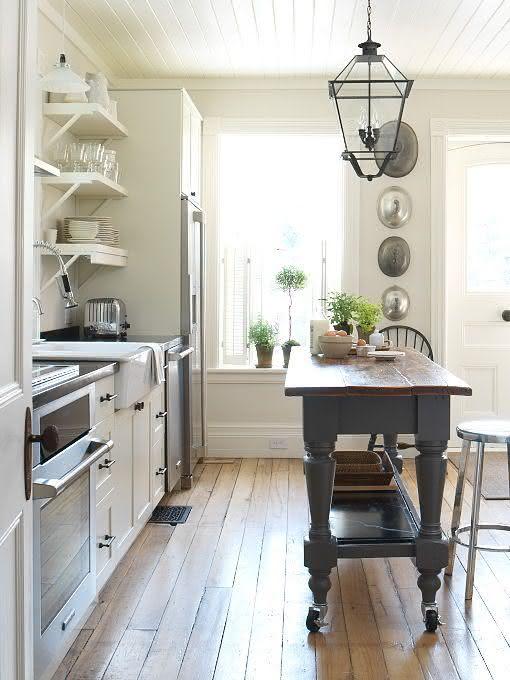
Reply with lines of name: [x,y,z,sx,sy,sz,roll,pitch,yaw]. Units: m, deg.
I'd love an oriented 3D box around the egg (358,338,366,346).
egg: [0.544,0.014,2.745,0.043,0.046,0.045,-2,-4,29]

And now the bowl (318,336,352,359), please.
bowl: [0.392,0.032,2.605,0.111,0.085,0.119,0,-4,0]

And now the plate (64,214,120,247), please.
plate: [-0.987,-0.612,3.131,0.209,0.108,0.201,0,2,10]

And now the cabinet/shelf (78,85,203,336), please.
cabinet/shelf: [-0.726,-0.601,3.453,0.710,1.776,0.406,-20,27,-34]

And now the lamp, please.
lamp: [0.465,-0.918,2.165,0.318,0.528,0.183,0,1,8]

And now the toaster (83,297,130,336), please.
toaster: [-0.857,-0.117,3.254,0.323,0.343,0.192,0,-1,-5]

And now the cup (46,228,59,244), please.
cup: [-1.119,-0.579,3.002,0.058,0.102,0.095,1,-2,-7]

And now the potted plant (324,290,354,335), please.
potted plant: [0.501,-0.166,3.076,0.148,0.238,0.368,0,1,10]

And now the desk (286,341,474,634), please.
desk: [0.459,0.555,2.102,0.654,0.899,0.754,0,1,5]

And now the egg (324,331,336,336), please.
egg: [0.368,-0.029,2.602,0.048,0.022,0.081,0,1,6]

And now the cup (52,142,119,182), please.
cup: [-0.942,-0.991,3.000,0.211,0.153,0.327,4,5,28]

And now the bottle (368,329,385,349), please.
bottle: [0.658,-0.007,2.816,0.077,0.117,0.103,1,-3,2]

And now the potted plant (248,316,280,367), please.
potted plant: [0.066,0.032,4.189,0.215,0.374,0.166,0,1,1]
